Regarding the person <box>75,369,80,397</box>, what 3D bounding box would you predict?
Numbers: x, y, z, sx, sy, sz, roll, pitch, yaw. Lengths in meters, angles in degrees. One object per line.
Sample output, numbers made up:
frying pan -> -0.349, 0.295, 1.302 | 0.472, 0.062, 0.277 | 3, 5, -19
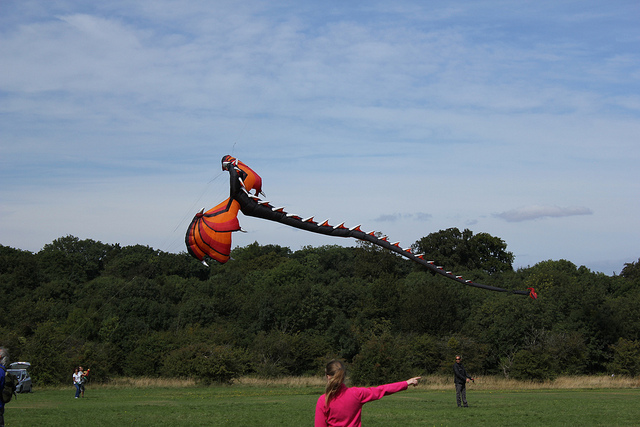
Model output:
person -> -21.350, 14.841, 80.113 | 0.535, 2.327, 0.946 | 6, -14, -15

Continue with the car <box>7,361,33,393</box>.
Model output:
car -> -27.597, 15.048, 84.245 | 1.974, 2.768, 4.692 | 7, -13, -18
